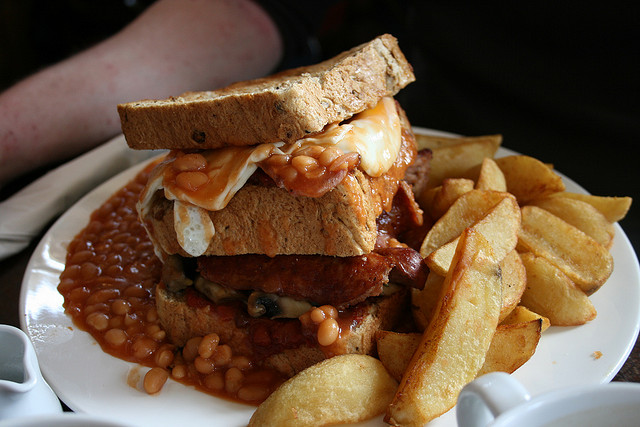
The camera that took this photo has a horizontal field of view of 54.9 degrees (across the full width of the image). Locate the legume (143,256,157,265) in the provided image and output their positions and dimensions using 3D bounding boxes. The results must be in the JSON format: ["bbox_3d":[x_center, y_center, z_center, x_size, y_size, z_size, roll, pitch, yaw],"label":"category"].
[{"bbox_3d":[-1.254,0.340,4.545,0.058,0.019,0.061,10,40,24],"label":"legume"}]

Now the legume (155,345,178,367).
[{"bbox_3d":[-1.001,0.911,4.005,0.069,0.048,0.134,13,5,5],"label":"legume"}]

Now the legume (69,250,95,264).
[{"bbox_3d":[-1.766,0.310,4.548,0.120,0.031,0.090,-23,49,-17],"label":"legume"}]

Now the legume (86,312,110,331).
[{"bbox_3d":[-1.483,0.713,4.124,0.111,0.067,0.119,30,26,3],"label":"legume"}]

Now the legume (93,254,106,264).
[{"bbox_3d":[-1.626,0.332,4.548,0.069,0.025,0.053,-28,57,-18],"label":"legume"}]

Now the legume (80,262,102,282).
[{"bbox_3d":[-1.662,0.416,4.449,0.116,0.044,0.127,12,38,7],"label":"legume"}]

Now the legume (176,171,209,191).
[{"bbox_3d":[-0.794,-0.218,3.812,0.142,0.048,0.121,-15,57,-4],"label":"legume"}]

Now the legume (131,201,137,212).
[{"bbox_3d":[-1.487,-0.061,4.938,0.056,0.014,0.061,3,63,-31],"label":"legume"}]

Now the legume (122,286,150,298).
[{"bbox_3d":[-1.287,0.544,4.313,0.112,0.038,0.085,9,17,-21],"label":"legume"}]

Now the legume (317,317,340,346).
[{"bbox_3d":[0.053,0.718,3.759,0.125,0.051,0.160,22,68,3],"label":"legume"}]

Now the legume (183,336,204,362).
[{"bbox_3d":[-0.834,0.880,4.061,0.102,0.095,0.160,29,77,15],"label":"legume"}]

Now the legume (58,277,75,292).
[{"bbox_3d":[-1.798,0.496,4.371,0.078,0.026,0.081,23,43,23],"label":"legume"}]

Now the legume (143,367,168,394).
[{"bbox_3d":[-1.030,1.030,3.841,0.127,0.072,0.162,40,70,11],"label":"legume"}]

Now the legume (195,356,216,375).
[{"bbox_3d":[-0.728,0.955,3.939,0.103,0.056,0.101,41,50,17],"label":"legume"}]

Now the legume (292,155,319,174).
[{"bbox_3d":[-0.086,-0.296,3.703,0.159,0.057,0.098,4,68,-4],"label":"legume"}]

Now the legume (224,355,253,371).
[{"bbox_3d":[-0.515,0.961,3.985,0.154,0.055,0.088,8,82,-6],"label":"legume"}]

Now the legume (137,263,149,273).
[{"bbox_3d":[-1.294,0.391,4.498,0.060,0.016,0.059,21,32,-12],"label":"legume"}]

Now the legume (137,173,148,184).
[{"bbox_3d":[-1.465,-0.297,5.087,0.070,0.019,0.078,-5,58,-4],"label":"legume"}]

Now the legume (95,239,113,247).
[{"bbox_3d":[-1.633,0.216,4.679,0.061,0.021,0.066,-3,20,32],"label":"legume"}]

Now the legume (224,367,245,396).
[{"bbox_3d":[-0.538,1.046,3.875,0.101,0.078,0.151,7,65,0],"label":"legume"}]

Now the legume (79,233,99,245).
[{"bbox_3d":[-1.755,0.178,4.714,0.090,0.031,0.089,14,32,-1],"label":"legume"}]

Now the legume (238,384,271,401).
[{"bbox_3d":[-0.413,1.097,3.825,0.139,0.047,0.099,-1,51,-2],"label":"legume"}]

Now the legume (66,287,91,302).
[{"bbox_3d":[-1.696,0.568,4.325,0.160,0.049,0.095,-21,71,-13],"label":"legume"}]

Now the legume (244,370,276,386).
[{"bbox_3d":[-0.378,1.038,3.946,0.124,0.023,0.090,-2,39,-3],"label":"legume"}]

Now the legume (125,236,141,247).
[{"bbox_3d":[-1.414,0.203,4.668,0.071,0.091,0.049,-29,39,3],"label":"legume"}]

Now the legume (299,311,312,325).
[{"bbox_3d":[-0.088,0.651,3.847,0.066,0.039,0.072,-18,25,1],"label":"legume"}]

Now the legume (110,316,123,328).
[{"bbox_3d":[-1.368,0.720,4.145,0.059,0.016,0.064,6,27,2],"label":"legume"}]

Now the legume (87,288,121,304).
[{"bbox_3d":[-1.510,0.561,4.304,0.178,0.067,0.100,-15,10,-12],"label":"legume"}]

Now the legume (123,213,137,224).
[{"bbox_3d":[-1.496,0.025,4.853,0.074,0.026,0.071,-25,48,-37],"label":"legume"}]

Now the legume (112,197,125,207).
[{"bbox_3d":[-1.615,-0.100,4.945,0.070,0.023,0.075,-11,49,-25],"label":"legume"}]

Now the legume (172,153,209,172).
[{"bbox_3d":[-0.809,-0.331,3.865,0.160,0.054,0.124,-4,41,10],"label":"legume"}]

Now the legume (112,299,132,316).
[{"bbox_3d":[-1.358,0.626,4.206,0.100,0.060,0.102,-9,41,-39],"label":"legume"}]

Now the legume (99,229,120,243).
[{"bbox_3d":[-1.613,0.162,4.736,0.147,0.051,0.076,-31,33,-4],"label":"legume"}]

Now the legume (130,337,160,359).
[{"bbox_3d":[-1.151,0.864,4.015,0.129,0.079,0.106,-27,48,-26],"label":"legume"}]

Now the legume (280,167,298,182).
[{"bbox_3d":[-0.187,-0.243,3.723,0.077,0.020,0.086,-5,71,3],"label":"legume"}]

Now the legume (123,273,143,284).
[{"bbox_3d":[-1.331,0.465,4.431,0.063,0.019,0.066,27,28,30],"label":"legume"}]

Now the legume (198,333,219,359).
[{"bbox_3d":[-0.718,0.848,4.021,0.092,0.083,0.155,40,65,-12],"label":"legume"}]

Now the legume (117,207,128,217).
[{"bbox_3d":[-1.570,-0.023,4.891,0.054,0.015,0.059,0,37,-3],"label":"legume"}]

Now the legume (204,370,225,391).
[{"bbox_3d":[-0.664,1.043,3.898,0.095,0.029,0.101,-3,37,-7],"label":"legume"}]
